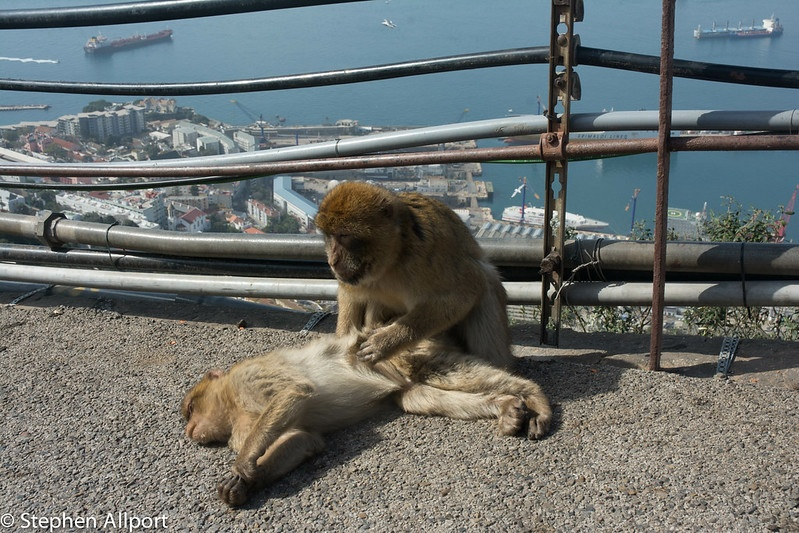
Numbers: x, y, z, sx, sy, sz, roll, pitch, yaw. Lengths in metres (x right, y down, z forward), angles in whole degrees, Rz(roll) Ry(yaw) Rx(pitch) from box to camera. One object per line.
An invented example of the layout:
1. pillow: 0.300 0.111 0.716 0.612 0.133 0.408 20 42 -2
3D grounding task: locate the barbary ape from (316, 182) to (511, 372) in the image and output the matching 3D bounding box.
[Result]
1. barbary ape: -0.012 0.116 6.393 1.106 1.092 1.862 -18 -21 41
